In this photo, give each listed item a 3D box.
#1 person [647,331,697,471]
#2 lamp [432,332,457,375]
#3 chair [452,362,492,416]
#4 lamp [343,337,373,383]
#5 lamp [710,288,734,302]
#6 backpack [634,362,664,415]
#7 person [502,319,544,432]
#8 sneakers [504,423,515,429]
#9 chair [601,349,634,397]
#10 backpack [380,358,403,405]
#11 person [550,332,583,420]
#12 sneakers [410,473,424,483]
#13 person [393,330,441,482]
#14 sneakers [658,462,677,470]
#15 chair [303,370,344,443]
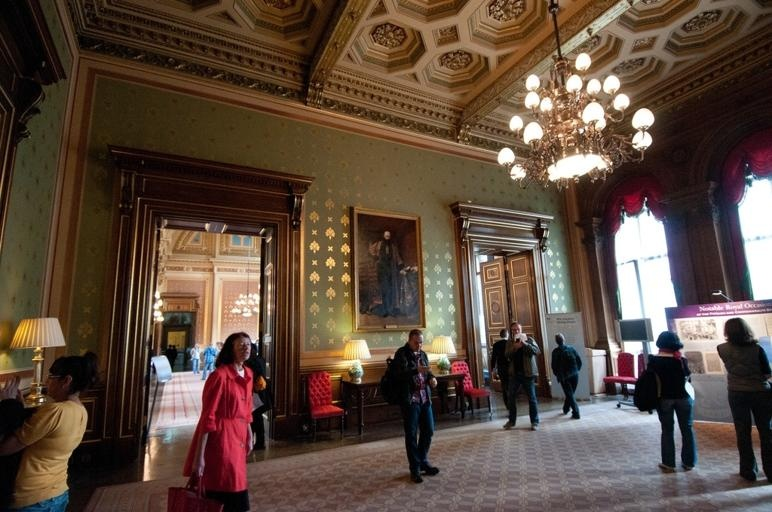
[{"bbox_3d":[4.081,2.076,6.746,0.586,1.354,0.324,-2,-2,19],"label":"person"},{"bbox_3d":[1.181,2.033,9.730,0.517,0.747,0.530,-1,-10,4],"label":"lamp"},{"bbox_3d":[1.780,2.734,9.791,0.556,1.026,0.703,4,-14,-26],"label":"chair"},{"bbox_3d":[-0.570,2.016,9.053,0.485,0.802,0.615,-1,-1,-7],"label":"lamp"},{"bbox_3d":[6.988,0.797,9.782,0.186,0.139,0.333,-22,22,-22],"label":"lamp"},{"bbox_3d":[3.847,1.967,6.810,0.152,0.588,0.398,7,1,-26],"label":"backpack"},{"bbox_3d":[2.539,2.231,8.876,0.633,1.898,0.654,-2,-2,18],"label":"person"},{"bbox_3d":[2.268,3.116,8.668,0.208,0.083,0.229,-2,-1,12],"label":"sneakers"},{"bbox_3d":[5.254,2.664,10.593,0.514,0.943,0.519,2,-7,-24],"label":"chair"},{"bbox_3d":[-0.036,1.827,6.964,0.366,0.559,0.577,18,-6,-1],"label":"backpack"},{"bbox_3d":[3.613,2.378,9.425,0.524,1.596,0.596,-2,-2,23],"label":"person"},{"bbox_3d":[0.454,3.108,6.644,0.187,0.122,0.143,-1,-1,-11],"label":"sneakers"},{"bbox_3d":[0.432,2.125,6.821,0.616,2.083,0.378,0,-2,-38],"label":"person"},{"bbox_3d":[3.995,3.001,6.698,0.084,0.107,0.215,1,0,-25],"label":"sneakers"},{"bbox_3d":[-1.090,2.735,8.689,0.738,1.096,0.713,-1,-1,-12],"label":"chair"}]
